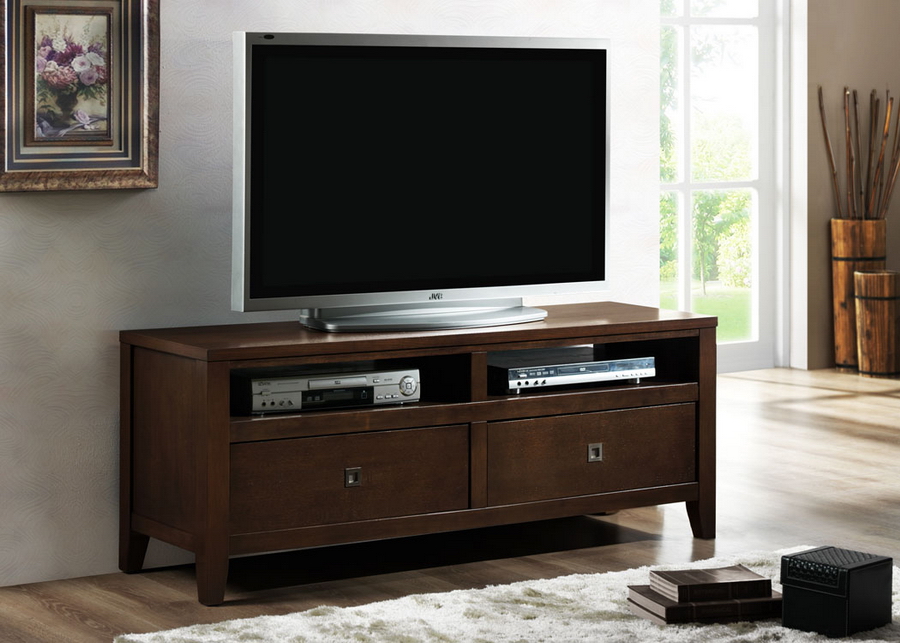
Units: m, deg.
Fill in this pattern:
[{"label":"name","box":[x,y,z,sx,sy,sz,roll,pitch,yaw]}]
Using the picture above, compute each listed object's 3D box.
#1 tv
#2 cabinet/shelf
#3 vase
[{"label":"tv","box":[-0.063,-0.458,2.905,1.449,0.928,0.348,-7,17,-32]},{"label":"cabinet/shelf","box":[-0.013,0.368,2.952,1.856,0.648,0.564,-1,0,-26]},{"label":"vase","box":[2.670,-0.176,5.470,0.312,0.972,0.445,-2,7,-8]}]
